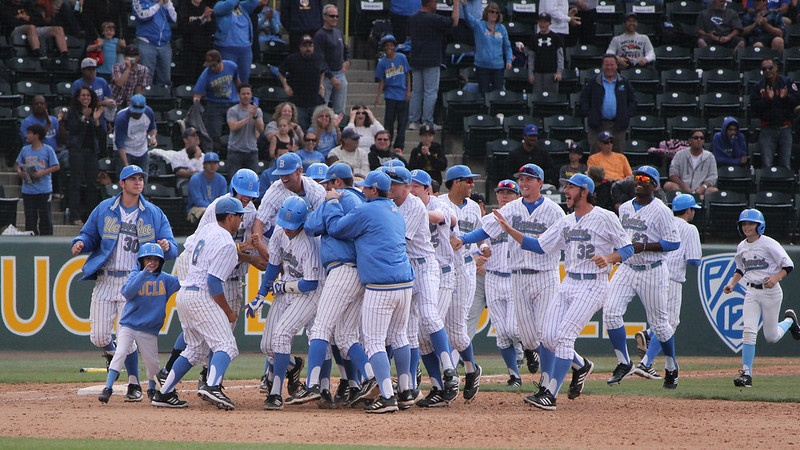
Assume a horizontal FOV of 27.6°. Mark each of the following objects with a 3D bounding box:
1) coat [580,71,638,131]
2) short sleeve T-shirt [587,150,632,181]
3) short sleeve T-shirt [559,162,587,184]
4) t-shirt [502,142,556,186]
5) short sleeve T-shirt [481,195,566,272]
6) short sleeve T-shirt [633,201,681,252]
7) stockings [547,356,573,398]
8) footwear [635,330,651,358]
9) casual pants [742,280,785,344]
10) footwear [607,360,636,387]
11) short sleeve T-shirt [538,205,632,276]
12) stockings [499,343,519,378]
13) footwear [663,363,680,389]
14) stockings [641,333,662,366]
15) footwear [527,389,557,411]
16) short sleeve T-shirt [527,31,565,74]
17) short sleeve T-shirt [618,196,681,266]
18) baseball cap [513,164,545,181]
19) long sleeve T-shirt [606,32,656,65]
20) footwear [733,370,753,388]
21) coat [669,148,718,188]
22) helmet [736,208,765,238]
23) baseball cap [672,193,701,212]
[{"bbox_3d":[5.123,-3.024,40.110,1.629,1.675,0.872,0,-2,2],"label":"coat"},{"bbox_3d":[5.011,-1.436,39.038,1.189,0.881,0.649,-1,-8,2],"label":"short sleeve T-shirt"},{"bbox_3d":[4.004,-1.282,38.579,0.532,0.271,0.739,3,12,22],"label":"short sleeve T-shirt"},{"bbox_3d":[2.972,-1.400,37.790,1.253,1.228,0.484,0,2,5],"label":"t-shirt"},{"bbox_3d":[2.576,0.207,34.094,1.596,1.264,0.518,1,-7,9],"label":"short sleeve T-shirt"},{"bbox_3d":[5.403,0.052,34.648,0.933,0.917,0.536,-9,0,25],"label":"short sleeve T-shirt"},{"bbox_3d":[3.163,2.993,33.135,0.419,0.999,0.307,16,4,-24],"label":"stockings"},{"bbox_3d":[5.331,2.564,36.097,0.327,0.750,0.247,-19,18,-33],"label":"footwear"},{"bbox_3d":[7.871,1.951,35.676,1.130,1.310,0.630,1,-2,-37],"label":"casual pants"},{"bbox_3d":[4.715,3.208,34.962,0.573,0.521,0.597,0,-2,5],"label":"footwear"},{"bbox_3d":[3.769,0.307,33.574,1.395,1.006,0.503,-2,-9,23],"label":"short sleeve T-shirt"},{"bbox_3d":[2.355,2.927,35.025,0.394,0.704,0.794,0,-2,3],"label":"stockings"},{"bbox_3d":[5.811,3.219,35.018,0.206,0.618,0.265,2,-7,27],"label":"footwear"},{"bbox_3d":[5.431,2.706,35.403,0.423,0.953,0.316,1,-3,-30],"label":"stockings"},{"bbox_3d":[2.860,3.543,33.105,0.757,0.402,0.279,15,1,-13],"label":"footwear"},{"bbox_3d":[3.757,-4.456,41.820,1.003,1.113,0.625,-1,-1,2],"label":"short sleeve T-shirt"},{"bbox_3d":[5.263,0.172,34.616,1.350,1.339,0.759,0,13,37],"label":"short sleeve T-shirt"},{"bbox_3d":[2.704,-1.121,33.911,0.478,0.246,0.364,23,-2,-17],"label":"baseball cap"},{"bbox_3d":[5.998,-4.618,42.266,0.970,0.936,0.419,-1,24,4],"label":"long sleeve T-shirt"},{"bbox_3d":[7.441,3.372,35.201,0.562,0.407,0.205,5,-8,0],"label":"footwear"},{"bbox_3d":[7.178,-1.310,39.639,1.238,1.033,0.785,5,2,23],"label":"coat"},{"bbox_3d":[7.687,-0.083,35.785,0.509,0.563,0.509,0,-2,18],"label":"helmet"},{"bbox_3d":[6.312,-0.515,35.883,0.540,0.268,0.395,-4,7,-26],"label":"baseball cap"}]
